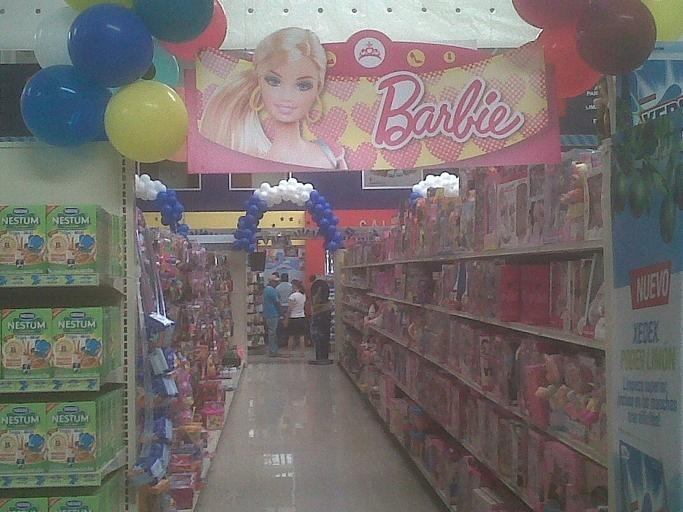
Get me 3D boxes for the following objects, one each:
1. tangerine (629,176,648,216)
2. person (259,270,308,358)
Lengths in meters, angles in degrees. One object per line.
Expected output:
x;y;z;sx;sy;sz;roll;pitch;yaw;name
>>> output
1.322;-0.263;2.936;0.048;0.158;0.069;-5;12;-28;tangerine
-0.990;1.057;11.375;0.731;1.332;0.917;0;1;-6;person
